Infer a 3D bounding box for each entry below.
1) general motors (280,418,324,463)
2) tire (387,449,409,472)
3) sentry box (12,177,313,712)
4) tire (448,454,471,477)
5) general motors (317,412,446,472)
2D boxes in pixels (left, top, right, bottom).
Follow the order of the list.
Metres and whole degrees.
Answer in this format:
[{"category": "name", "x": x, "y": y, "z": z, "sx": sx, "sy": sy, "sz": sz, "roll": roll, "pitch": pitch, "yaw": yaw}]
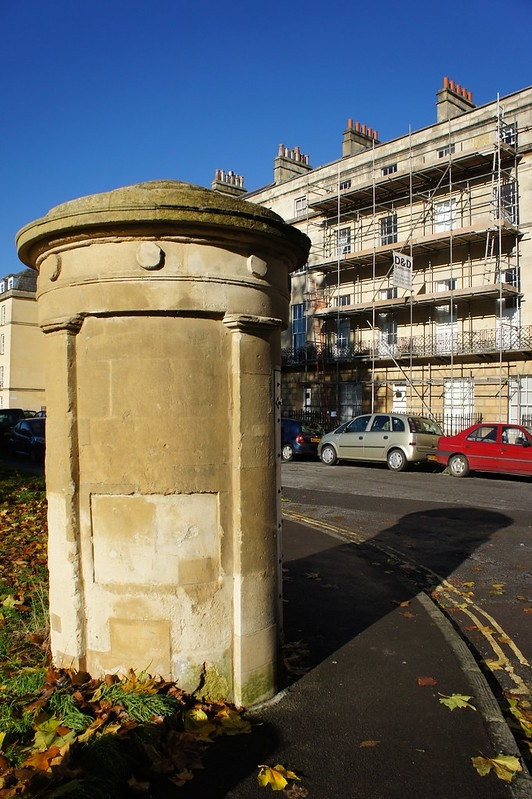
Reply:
[{"category": "general motors", "x": 0.746, "y": 1.172, "z": 23.585, "sx": 0.962, "sy": 0.925, "sz": 1.744, "roll": -1, "pitch": 5, "yaw": -34}, {"category": "tire", "x": 2.992, "y": 1.402, "z": 19.134, "sx": 0.173, "sy": 0.495, "sz": 0.470, "roll": 9, "pitch": -12, "yaw": -34}, {"category": "sentry box", "x": -0.649, "y": 0.200, "z": 5.392, "sx": 1.855, "sy": 3.181, "sz": 1.876, "roll": 0, "pitch": 4, "yaw": 10}, {"category": "tire", "x": 4.116, "y": 1.437, "z": 17.867, "sx": 0.154, "sy": 0.456, "sz": 0.435, "roll": 2, "pitch": -8, "yaw": -30}, {"category": "general motors", "x": 2.851, "y": 1.004, "z": 19.986, "sx": 1.293, "sy": 1.054, "sz": 2.317, "roll": 0, "pitch": 2, "yaw": -42}]
